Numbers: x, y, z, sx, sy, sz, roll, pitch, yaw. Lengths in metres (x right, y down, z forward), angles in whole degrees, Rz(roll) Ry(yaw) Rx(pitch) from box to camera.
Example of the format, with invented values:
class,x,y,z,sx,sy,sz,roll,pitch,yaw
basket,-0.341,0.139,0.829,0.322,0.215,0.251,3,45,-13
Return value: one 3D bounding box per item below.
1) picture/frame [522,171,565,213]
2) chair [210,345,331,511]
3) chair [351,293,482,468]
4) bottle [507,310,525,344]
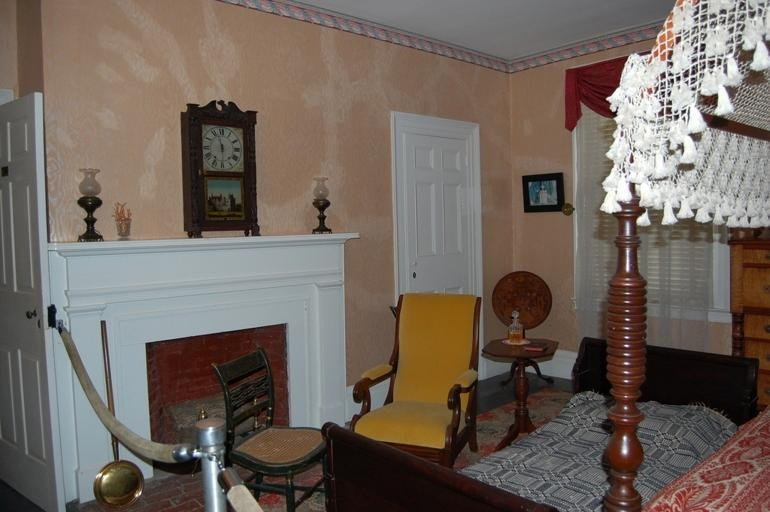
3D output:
class,x,y,z,sx,sy,sz,roll,pitch,yaw
picture/frame,1.952,-0.782,6.626,0.436,0.490,0.037,-14,2,43
chair,-0.906,1.275,4.069,0.695,1.168,1.319,-4,6,-22
chair,0.268,1.046,4.398,0.893,1.376,0.963,0,2,21
bottle,1.255,0.698,5.347,0.227,0.316,0.234,4,3,0
